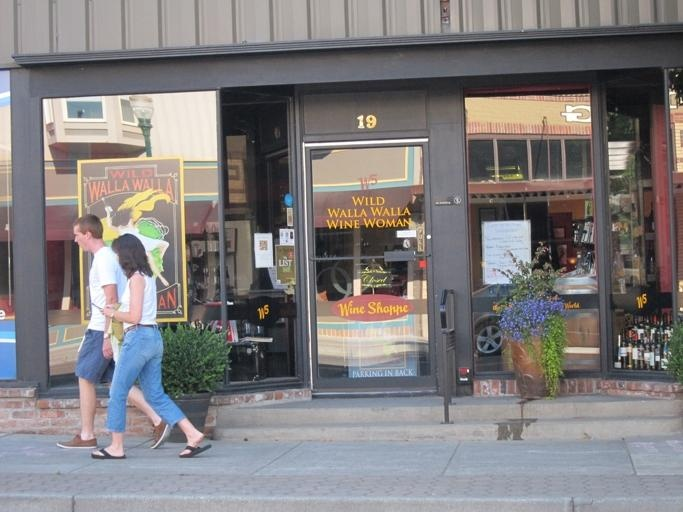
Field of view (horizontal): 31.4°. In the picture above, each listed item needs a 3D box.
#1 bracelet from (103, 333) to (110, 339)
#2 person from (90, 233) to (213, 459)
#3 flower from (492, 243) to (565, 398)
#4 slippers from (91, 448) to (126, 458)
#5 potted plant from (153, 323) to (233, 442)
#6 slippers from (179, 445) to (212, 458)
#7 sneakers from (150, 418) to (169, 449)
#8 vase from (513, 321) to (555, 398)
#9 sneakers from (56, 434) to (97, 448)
[{"bbox_3d":[-2.450,0.854,12.718,0.066,0.066,0.016,-1,3,10],"label":"bracelet"},{"bbox_3d":[-2.071,0.974,12.495,1.065,2.336,0.502,-2,11,-6],"label":"person"},{"bbox_3d":[2.210,0.852,14.109,0.776,1.498,0.813,1,11,10],"label":"flower"},{"bbox_3d":[-2.430,2.097,12.648,0.251,0.076,0.136,3,-6,1],"label":"slippers"},{"bbox_3d":[-1.744,1.298,13.528,0.867,0.950,0.723,3,-13,-26],"label":"potted plant"},{"bbox_3d":[-1.541,2.058,12.688,0.361,0.121,0.133,-5,-6,-5],"label":"slippers"},{"bbox_3d":[-1.951,1.931,13.070,0.178,0.388,0.132,25,40,-1],"label":"sneakers"},{"bbox_3d":[2.201,1.237,14.026,0.550,0.817,0.515,4,-8,10],"label":"vase"},{"bbox_3d":[-2.857,2.029,13.106,0.450,0.167,0.166,2,-8,3],"label":"sneakers"}]
